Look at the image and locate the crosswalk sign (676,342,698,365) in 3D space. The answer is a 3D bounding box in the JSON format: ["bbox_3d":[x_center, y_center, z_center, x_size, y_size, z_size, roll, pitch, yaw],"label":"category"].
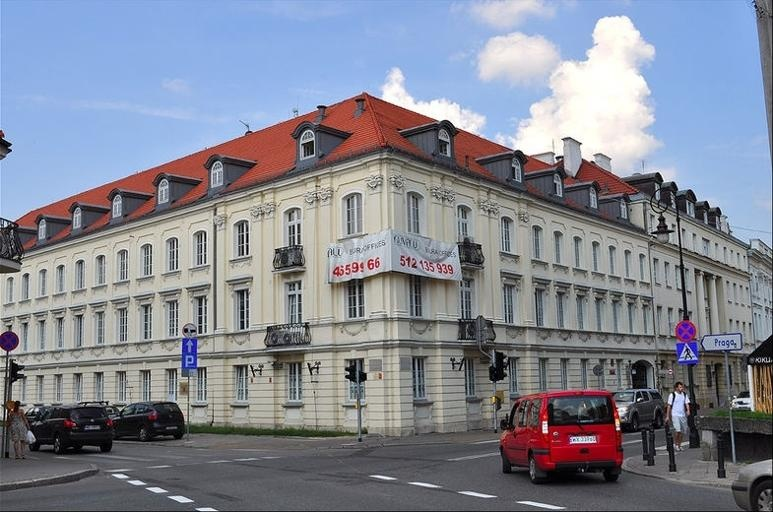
[{"bbox_3d":[12.991,4.192,40.364,0.831,0.893,1.747,-3,1,15],"label":"crosswalk sign"}]

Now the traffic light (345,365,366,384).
[{"bbox_3d":[-1.562,5.881,46.681,1.052,0.843,0.862,-4,1,-19],"label":"traffic light"}]

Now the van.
[{"bbox_3d":[6.028,6.550,34.706,2.700,2.048,4.307,2,-7,-12],"label":"van"}]
